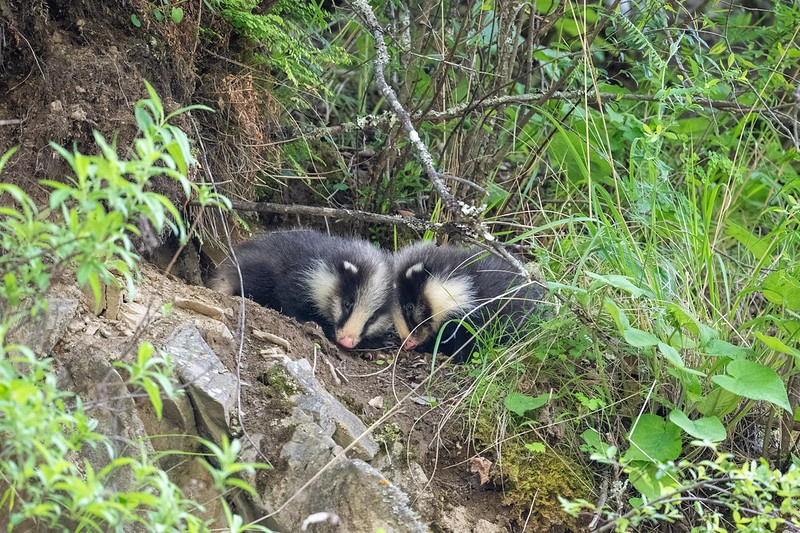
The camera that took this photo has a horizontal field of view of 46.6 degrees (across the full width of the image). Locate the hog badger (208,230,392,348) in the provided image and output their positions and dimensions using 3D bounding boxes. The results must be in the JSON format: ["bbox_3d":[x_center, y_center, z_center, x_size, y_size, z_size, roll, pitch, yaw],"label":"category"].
[{"bbox_3d":[-0.650,0.107,7.164,1.228,0.583,0.782,25,21,15],"label":"hog badger"}]
